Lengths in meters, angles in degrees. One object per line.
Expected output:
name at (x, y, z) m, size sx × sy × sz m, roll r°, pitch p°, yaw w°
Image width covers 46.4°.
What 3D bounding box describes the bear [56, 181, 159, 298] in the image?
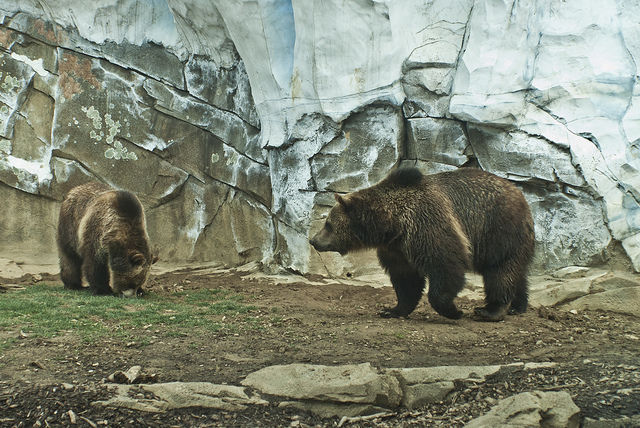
bear at (-4.174, 0.512, 14.310) m, size 2.005 × 1.906 × 1.030 m, roll 9°, pitch 14°, yaw 30°
